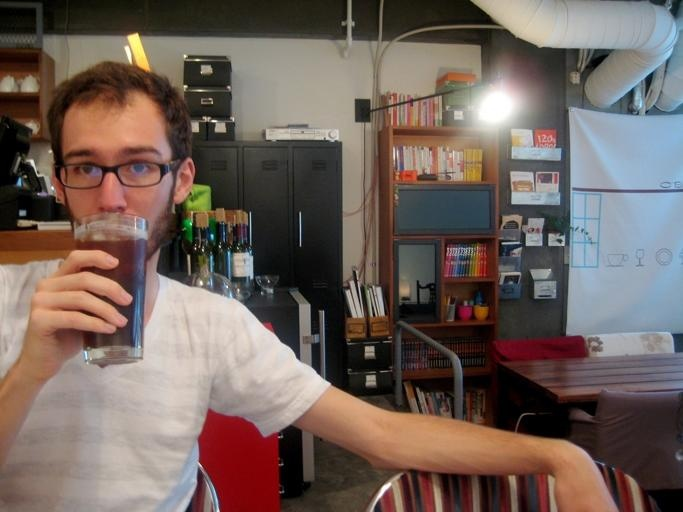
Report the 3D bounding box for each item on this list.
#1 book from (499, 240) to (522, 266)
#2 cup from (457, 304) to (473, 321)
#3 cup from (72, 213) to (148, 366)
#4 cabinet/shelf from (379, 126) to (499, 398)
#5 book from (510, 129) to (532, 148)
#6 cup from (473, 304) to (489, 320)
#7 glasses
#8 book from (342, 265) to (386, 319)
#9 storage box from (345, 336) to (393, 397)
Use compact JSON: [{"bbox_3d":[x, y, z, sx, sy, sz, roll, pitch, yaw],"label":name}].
[{"bbox_3d":[1.385,-0.016,5.083,0.151,0.220,0.070,0,11,-15],"label":"book"},{"bbox_3d":[0.983,0.456,5.035,0.115,0.137,0.118,0,-5,0],"label":"cup"},{"bbox_3d":[-0.632,0.090,1.720,0.191,0.412,0.144,-3,6,-23],"label":"cup"},{"bbox_3d":[0.804,0.158,5.003,0.816,2.162,0.382,0,-8,10],"label":"cabinet/shelf"},{"bbox_3d":[1.464,-0.951,5.086,0.144,0.135,0.049,0,-5,-7],"label":"book"},{"bbox_3d":[1.124,0.456,5.073,0.120,0.129,0.113,-4,7,0],"label":"cup"},{"bbox_3d":[-0.690,-0.251,1.925,0.359,0.093,0.093,-3,6,-20],"label":"glasses"},{"bbox_3d":[0.166,0.265,4.894,0.285,0.412,0.140,-3,3,-4],"label":"book"},{"bbox_3d":[0.209,0.824,4.718,0.386,0.567,0.387,0,-4,-3],"label":"storage box"}]
